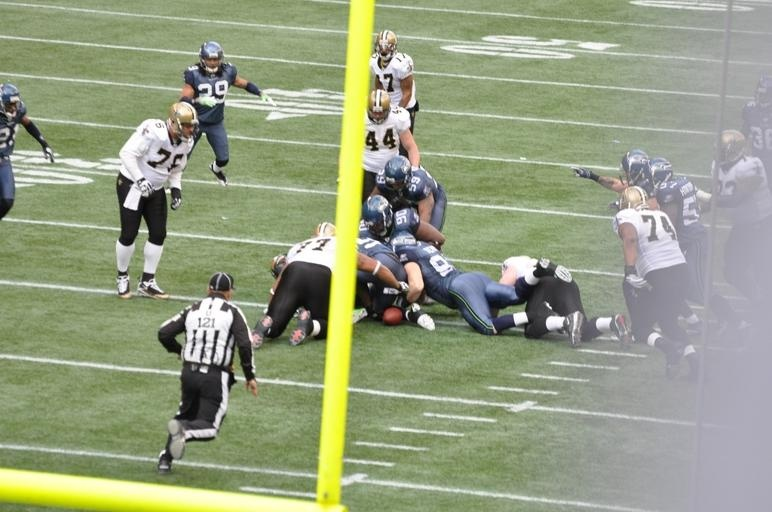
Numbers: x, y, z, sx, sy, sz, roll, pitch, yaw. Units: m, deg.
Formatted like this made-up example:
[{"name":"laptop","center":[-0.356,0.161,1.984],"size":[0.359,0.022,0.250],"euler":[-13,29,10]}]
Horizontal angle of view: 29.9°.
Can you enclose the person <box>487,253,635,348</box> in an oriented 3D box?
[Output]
[{"name":"person","center":[1.731,0.507,15.222],"size":[0.938,0.666,1.938],"euler":[-2,13,-23]}]

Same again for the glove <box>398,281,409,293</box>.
[{"name":"glove","center":[0.179,0.310,15.030],"size":[0.050,0.108,0.092],"euler":[-10,9,43]}]

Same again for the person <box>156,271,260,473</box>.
[{"name":"person","center":[-1.665,1.075,13.354],"size":[0.899,1.821,0.684],"euler":[5,7,-16]}]

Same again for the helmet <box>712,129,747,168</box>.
[{"name":"helmet","center":[3.605,-1.118,15.053],"size":[0.260,0.372,0.571],"euler":[8,7,15]}]

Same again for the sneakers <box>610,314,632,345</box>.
[{"name":"sneakers","center":[2.366,0.730,14.683],"size":[0.178,0.354,0.160],"euler":[-12,26,36]}]

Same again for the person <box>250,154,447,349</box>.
[{"name":"person","center":[-0.492,0.288,14.872],"size":[1.133,0.544,1.809],"euler":[18,21,32]}]

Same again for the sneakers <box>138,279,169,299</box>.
[{"name":"sneakers","center":[-2.545,0.348,15.559],"size":[0.416,0.177,0.148],"euler":[12,24,-3]}]

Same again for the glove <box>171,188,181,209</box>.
[{"name":"glove","center":[-2.279,-0.615,15.678],"size":[0.097,0.152,0.209],"euler":[-14,-11,-23]}]

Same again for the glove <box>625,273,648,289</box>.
[{"name":"glove","center":[2.555,0.254,14.796],"size":[0.195,0.066,0.139],"euler":[19,-4,12]}]

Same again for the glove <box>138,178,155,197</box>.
[{"name":"glove","center":[-2.545,-0.733,15.227],"size":[0.052,0.173,0.148],"euler":[-8,17,47]}]

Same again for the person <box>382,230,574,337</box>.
[{"name":"person","center":[0.871,0.265,15.158],"size":[2.140,0.642,0.868],"euler":[15,32,35]}]

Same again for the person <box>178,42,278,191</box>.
[{"name":"person","center":[-1.951,-1.626,17.544],"size":[1.285,1.692,0.947],"euler":[-6,17,-30]}]

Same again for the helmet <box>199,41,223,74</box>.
[{"name":"helmet","center":[-2.074,-2.389,17.373],"size":[0.322,0.372,0.326],"euler":[-3,-19,-17]}]

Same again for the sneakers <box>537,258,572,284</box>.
[{"name":"sneakers","center":[1.726,0.159,14.862],"size":[0.363,0.140,0.207],"euler":[23,24,0]}]

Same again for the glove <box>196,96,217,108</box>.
[{"name":"glove","center":[-2.158,-1.852,17.250],"size":[0.200,0.105,0.059],"euler":[9,-30,-20]}]

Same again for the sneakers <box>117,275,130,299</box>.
[{"name":"sneakers","center":[-2.846,0.320,15.550],"size":[0.113,0.269,0.129],"euler":[-8,-5,-14]}]

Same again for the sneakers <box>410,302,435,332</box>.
[{"name":"sneakers","center":[0.370,0.643,15.200],"size":[0.331,0.151,0.190],"euler":[49,-2,16]}]

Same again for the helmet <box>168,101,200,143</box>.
[{"name":"helmet","center":[-2.142,-1.420,15.303],"size":[0.344,0.395,0.277],"euler":[3,7,-25]}]

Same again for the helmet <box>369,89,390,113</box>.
[{"name":"helmet","center":[-0.074,-1.768,16.453],"size":[0.219,0.251,0.227],"euler":[1,6,3]}]
